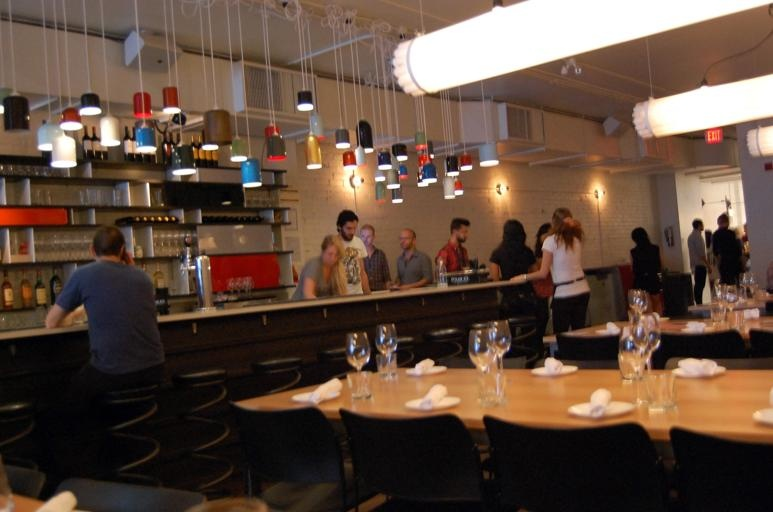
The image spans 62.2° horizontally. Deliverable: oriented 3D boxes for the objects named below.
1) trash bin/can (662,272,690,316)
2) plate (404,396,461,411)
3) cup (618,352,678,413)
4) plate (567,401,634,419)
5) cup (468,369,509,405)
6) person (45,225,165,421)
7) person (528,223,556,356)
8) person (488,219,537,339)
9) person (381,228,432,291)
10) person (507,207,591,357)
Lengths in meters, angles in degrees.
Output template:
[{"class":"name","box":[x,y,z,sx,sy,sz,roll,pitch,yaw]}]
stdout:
[{"class":"trash bin/can","box":[4.981,0.693,10.981,0.472,0.779,0.496,-7,17,28]},{"class":"plate","box":[0.235,0.743,3.271,0.285,0.067,0.154,-2,5,1]},{"class":"cup","box":[1.249,0.598,3.021,0.280,0.309,0.179,-2,1,-9]},{"class":"plate","box":[1.020,0.712,3.007,0.314,0.064,0.143,-3,5,-11]},{"class":"cup","box":[0.545,0.694,3.359,0.145,0.171,0.158,0,-12,0]},{"class":"person","box":[-1.920,0.599,4.438,0.835,1.564,0.687,0,2,32]},{"class":"person","box":[1.963,0.263,7.869,0.408,1.614,0.391,-12,-30,38]},{"class":"person","box":[1.526,0.484,7.717,0.567,1.863,0.574,-3,6,0]},{"class":"person","box":[0.265,0.056,8.734,0.648,1.022,0.756,5,-7,-43]},{"class":"person","box":[1.716,0.340,6.558,0.653,1.707,0.613,-11,18,-13]}]
